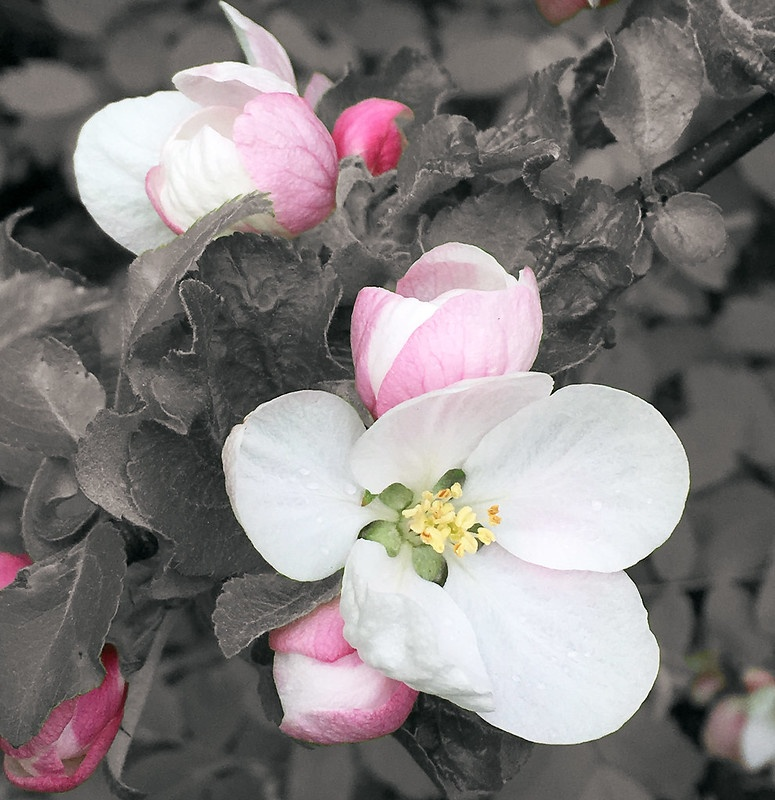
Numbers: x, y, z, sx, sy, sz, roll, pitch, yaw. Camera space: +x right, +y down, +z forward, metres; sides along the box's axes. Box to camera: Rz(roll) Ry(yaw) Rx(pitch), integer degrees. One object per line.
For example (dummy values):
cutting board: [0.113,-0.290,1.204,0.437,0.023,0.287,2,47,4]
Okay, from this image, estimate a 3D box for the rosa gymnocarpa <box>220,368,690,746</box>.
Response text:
rosa gymnocarpa: [0.043,0.069,0.527,0.193,0.088,0.169,-14,79,0]

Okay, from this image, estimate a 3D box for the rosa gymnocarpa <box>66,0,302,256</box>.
rosa gymnocarpa: [-0.078,-0.128,0.667,0.121,0.072,0.137,11,75,28]
